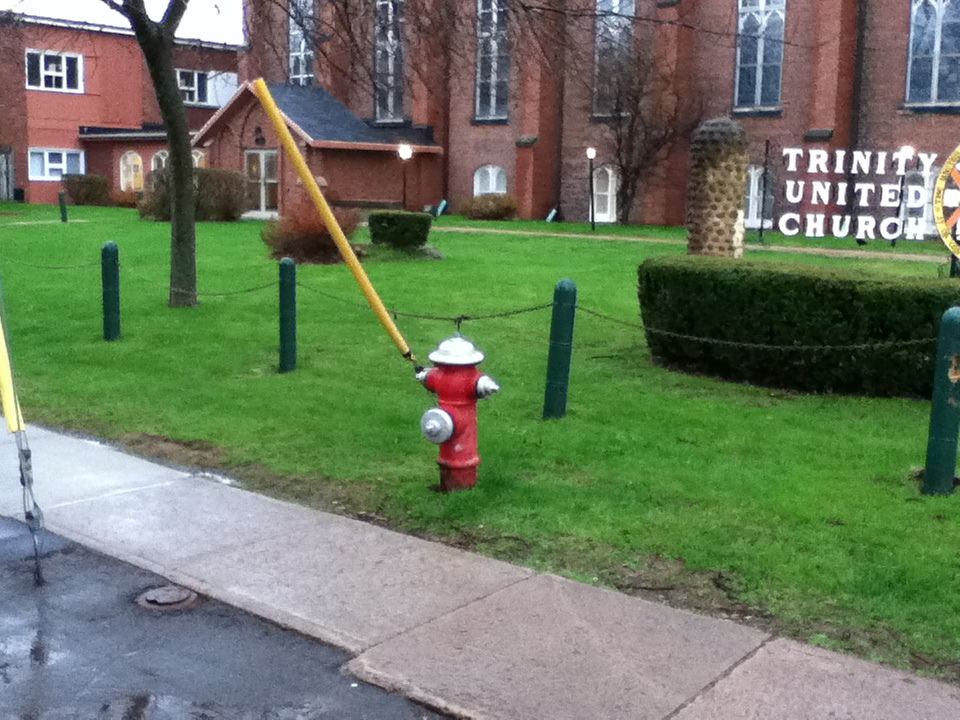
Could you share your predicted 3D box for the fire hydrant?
[{"bbox_3d":[-0.161,0.437,10.033,0.621,1.323,0.615,-1,10,-3],"label":"fire hydrant"}]
